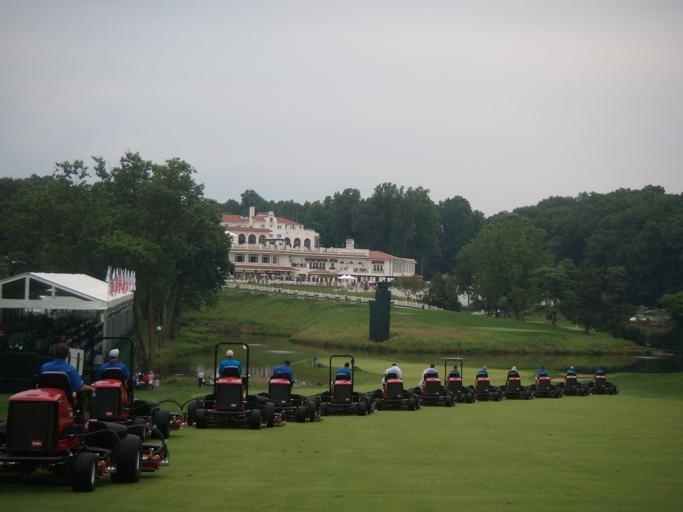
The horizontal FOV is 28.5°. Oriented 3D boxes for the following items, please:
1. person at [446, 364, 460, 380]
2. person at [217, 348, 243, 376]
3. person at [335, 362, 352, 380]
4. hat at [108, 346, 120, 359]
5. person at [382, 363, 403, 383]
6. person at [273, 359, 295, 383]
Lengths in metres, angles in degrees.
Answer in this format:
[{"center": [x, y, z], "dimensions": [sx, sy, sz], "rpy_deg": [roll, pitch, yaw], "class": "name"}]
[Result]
[{"center": [6.403, 6.583, 76.170], "dimensions": [0.822, 0.896, 1.457], "rpy_deg": [1, 4, 4], "class": "person"}, {"center": [-5.385, 5.196, 65.876], "dimensions": [1.140, 1.324, 1.259], "rpy_deg": [2, -3, -6], "class": "person"}, {"center": [0.185, 5.900, 69.935], "dimensions": [0.846, 0.936, 0.723], "rpy_deg": [2, -3, -13], "class": "person"}, {"center": [-10.090, 4.264, 59.979], "dimensions": [0.464, 0.412, 0.703], "rpy_deg": [3, 10, -5], "class": "hat"}, {"center": [2.782, 6.262, 73.194], "dimensions": [0.973, 1.216, 1.480], "rpy_deg": [4, 7, 15], "class": "person"}, {"center": [-2.849, 5.756, 67.762], "dimensions": [0.907, 1.207, 1.148], "rpy_deg": [0, -3, 19], "class": "person"}]
